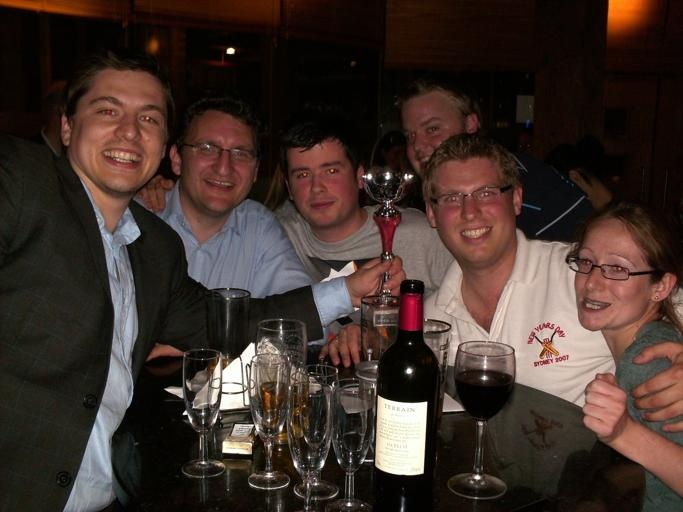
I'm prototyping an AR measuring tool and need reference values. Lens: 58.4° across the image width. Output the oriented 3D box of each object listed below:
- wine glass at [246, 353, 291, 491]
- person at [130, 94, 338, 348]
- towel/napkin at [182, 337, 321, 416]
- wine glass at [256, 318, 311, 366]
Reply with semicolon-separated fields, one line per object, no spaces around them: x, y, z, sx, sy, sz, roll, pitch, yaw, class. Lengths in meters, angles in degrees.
-0.192;0.431;1.660;0.120;0.301;0.250;-2;10;-6;wine glass
-0.631;-0.113;3.151;1.097;1.468;0.863;1;-5;-2;person
-0.339;0.396;1.974;0.199;0.231;0.246;-1;8;11;towel/napkin
-0.196;0.310;1.980;0.179;0.178;0.177;5;-19;-17;wine glass
